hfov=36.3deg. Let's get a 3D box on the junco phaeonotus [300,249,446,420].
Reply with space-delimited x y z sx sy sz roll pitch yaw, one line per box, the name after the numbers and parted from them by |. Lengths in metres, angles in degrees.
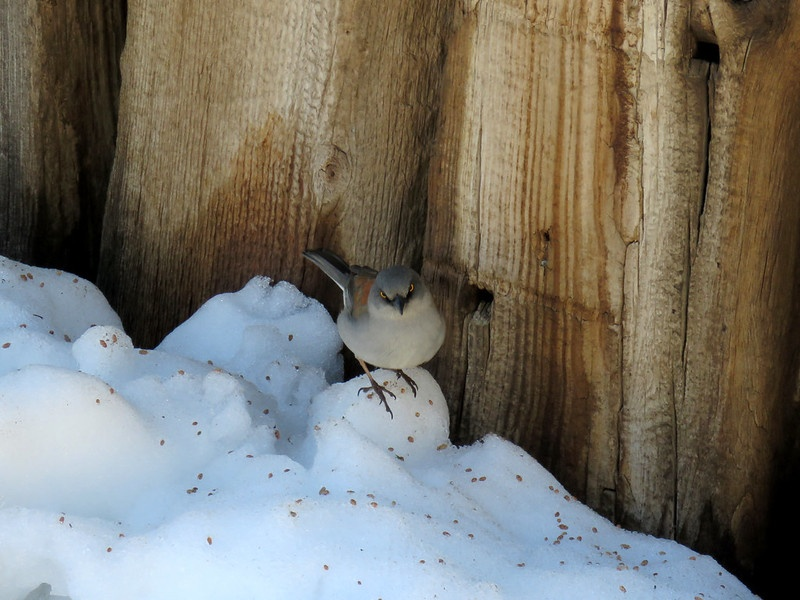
-0.166 0.085 6.223 0.362 0.636 0.962 -12 46 -20 | junco phaeonotus
